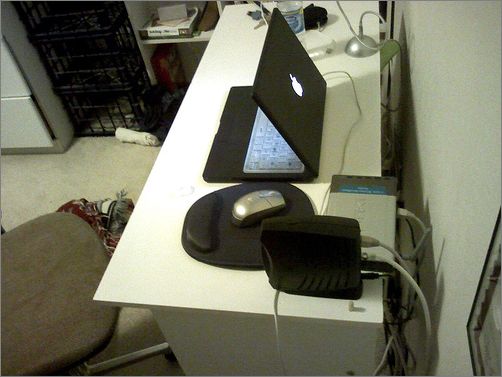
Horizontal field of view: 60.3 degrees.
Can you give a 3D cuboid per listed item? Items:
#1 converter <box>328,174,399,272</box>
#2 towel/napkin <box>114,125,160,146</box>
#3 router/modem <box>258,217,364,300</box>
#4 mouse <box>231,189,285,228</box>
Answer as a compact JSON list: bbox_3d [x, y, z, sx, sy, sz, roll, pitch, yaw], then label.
[{"bbox_3d":[0.292,0.088,1.195,0.196,0.072,0.314,2,55,12],"label":"converter"},{"bbox_3d":[-0.687,-0.308,2.663,0.360,0.111,0.110,11,19,15],"label":"towel/napkin"},{"bbox_3d":[0.149,0.167,1.028,0.237,0.219,0.093,1,23,19],"label":"router/modem"},{"bbox_3d":[0.020,0.053,1.191,0.156,0.056,0.070,-21,42,-10],"label":"mouse"}]
